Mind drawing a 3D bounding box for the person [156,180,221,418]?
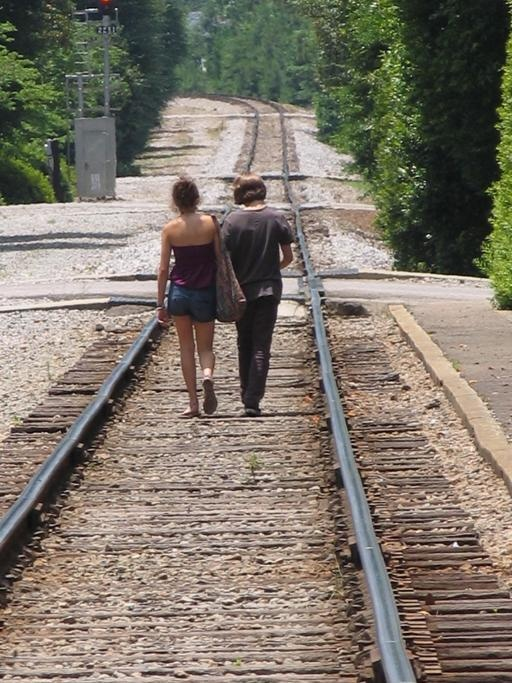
[{"bbox_3d":[-0.481,-0.254,6.556,0.449,1.799,0.763,2,28,-6],"label":"person"}]
